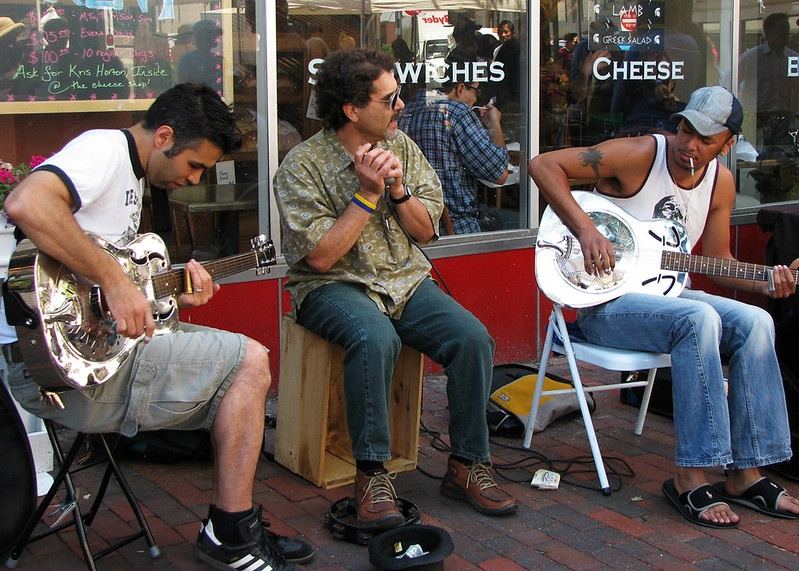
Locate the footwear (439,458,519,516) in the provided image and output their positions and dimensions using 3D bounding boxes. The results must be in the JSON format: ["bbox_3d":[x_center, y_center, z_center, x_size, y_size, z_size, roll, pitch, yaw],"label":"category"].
[{"bbox_3d":[0.377,0.956,3.433,0.424,0.211,0.167,12,17,39],"label":"footwear"}]

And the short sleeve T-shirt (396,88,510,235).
[{"bbox_3d":[0.333,-0.866,4.536,0.515,0.939,0.851,-26,31,-34],"label":"short sleeve T-shirt"}]

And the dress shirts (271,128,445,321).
[{"bbox_3d":[-0.185,-0.335,3.563,0.914,0.941,0.681,-7,13,-26],"label":"dress shirts"}]

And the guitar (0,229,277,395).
[{"bbox_3d":[-1.077,0.068,2.787,0.308,0.575,0.939,11,17,36],"label":"guitar"}]

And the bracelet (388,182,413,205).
[{"bbox_3d":[0.006,-0.453,3.363,0.101,0.107,0.042,-23,11,22],"label":"bracelet"}]

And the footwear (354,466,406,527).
[{"bbox_3d":[-0.091,0.964,3.115,0.230,0.205,0.201,1,14,-1],"label":"footwear"}]

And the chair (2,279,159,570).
[{"bbox_3d":[-1.305,0.727,3.249,0.711,1.091,0.668,7,9,15],"label":"chair"}]

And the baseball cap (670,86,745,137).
[{"bbox_3d":[1.600,-0.921,3.527,0.399,0.197,0.274,-13,39,-40],"label":"baseball cap"}]

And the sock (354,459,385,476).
[{"bbox_3d":[-0.139,0.838,3.160,0.132,0.063,0.058,2,-1,4],"label":"sock"}]

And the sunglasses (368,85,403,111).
[{"bbox_3d":[-0.067,-0.902,3.306,0.121,0.041,0.123,-3,13,31],"label":"sunglasses"}]

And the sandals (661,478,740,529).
[{"bbox_3d":[1.463,1.042,3.353,0.205,0.154,0.480,1,7,-5],"label":"sandals"}]

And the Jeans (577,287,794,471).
[{"bbox_3d":[1.500,0.471,3.530,0.545,0.819,0.865,-8,17,-35],"label":"Jeans"}]
